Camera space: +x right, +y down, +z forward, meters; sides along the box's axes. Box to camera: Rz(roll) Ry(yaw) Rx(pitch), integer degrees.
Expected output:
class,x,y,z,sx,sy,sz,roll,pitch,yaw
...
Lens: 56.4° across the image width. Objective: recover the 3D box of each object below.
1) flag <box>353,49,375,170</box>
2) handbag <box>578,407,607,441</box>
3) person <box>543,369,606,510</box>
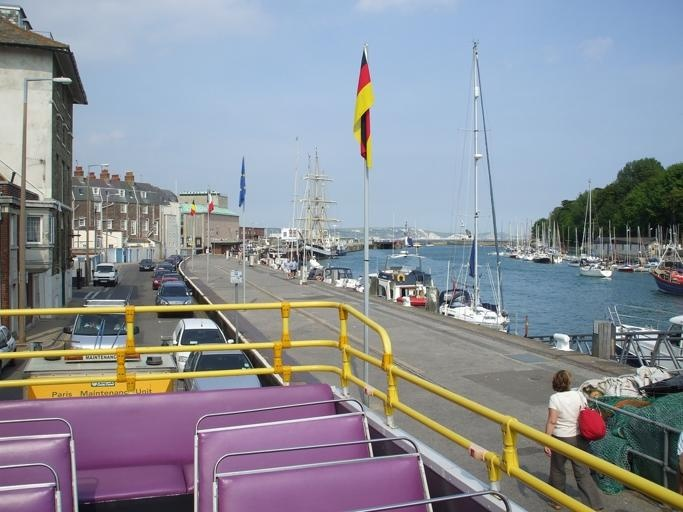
class,x,y,z,sx,sy,sz,roll,pitch,yaw
flag,0.430,-2.949,12.643,0.330,2.408,0.821,1,2,0
handbag,3.431,2.286,8.609,0.341,0.433,0.237,0,-20,-20
person,3.194,2.655,8.748,0.718,2.046,1.020,1,2,11
